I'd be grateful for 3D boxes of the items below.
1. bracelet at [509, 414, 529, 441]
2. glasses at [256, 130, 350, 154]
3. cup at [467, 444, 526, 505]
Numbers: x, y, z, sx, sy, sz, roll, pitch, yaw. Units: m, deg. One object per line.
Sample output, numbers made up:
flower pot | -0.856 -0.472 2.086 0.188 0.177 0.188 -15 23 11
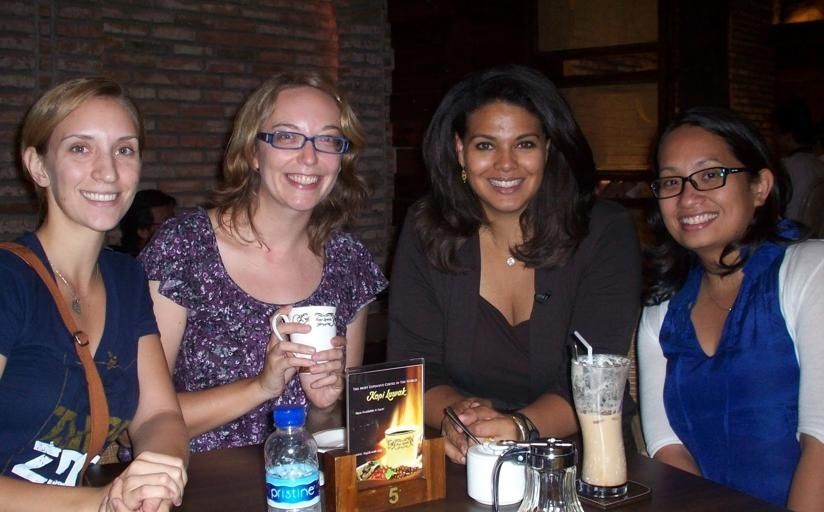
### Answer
bracelet | 0.354 0.562 2.070 0.059 0.069 0.027 -10 -27 -9
glasses | -0.421 -0.429 2.402 0.339 0.092 0.100 -2 6 -7
cup | 0.251 0.606 1.815 0.182 0.134 0.171 1 -6 0
